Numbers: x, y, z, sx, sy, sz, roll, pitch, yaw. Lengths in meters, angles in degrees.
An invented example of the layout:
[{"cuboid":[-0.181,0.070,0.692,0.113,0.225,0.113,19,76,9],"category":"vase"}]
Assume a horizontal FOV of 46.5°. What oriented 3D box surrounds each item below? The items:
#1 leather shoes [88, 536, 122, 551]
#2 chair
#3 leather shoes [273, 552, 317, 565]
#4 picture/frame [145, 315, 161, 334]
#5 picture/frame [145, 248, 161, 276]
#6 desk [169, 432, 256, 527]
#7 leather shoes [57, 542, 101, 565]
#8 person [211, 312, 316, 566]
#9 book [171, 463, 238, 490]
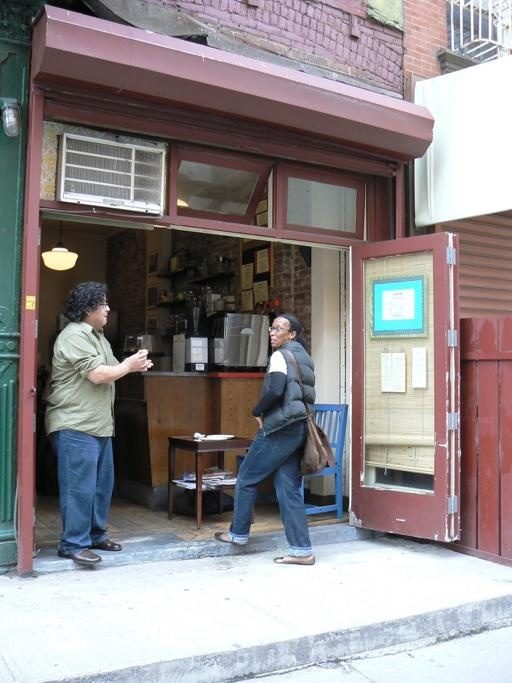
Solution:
[{"cuboid":[-0.918,1.246,3.699,0.167,0.071,0.075,-1,-6,-1],"category":"leather shoes"},{"cuboid":[0.526,0.932,4.709,0.504,0.960,0.498,2,-5,-19],"category":"chair"},{"cuboid":[0.249,1.316,3.691,0.229,0.068,0.093,1,-8,21],"category":"leather shoes"},{"cuboid":[-1.633,-0.282,9.591,0.098,0.292,0.298,1,-2,-32],"category":"picture/frame"},{"cuboid":[-1.630,-1.277,9.605,0.019,0.367,0.547,7,-7,-29],"category":"picture/frame"},{"cuboid":[-0.327,0.991,4.753,0.631,0.774,0.612,3,-5,-35],"category":"desk"},{"cuboid":[-1.017,1.210,3.438,0.276,0.093,0.102,-3,-7,29],"category":"leather shoes"},{"cuboid":[0.036,0.571,3.846,0.675,1.402,0.504,1,-1,-18],"category":"person"},{"cuboid":[-0.430,1.091,4.802,0.390,0.095,0.379,7,-8,-41],"category":"book"}]
